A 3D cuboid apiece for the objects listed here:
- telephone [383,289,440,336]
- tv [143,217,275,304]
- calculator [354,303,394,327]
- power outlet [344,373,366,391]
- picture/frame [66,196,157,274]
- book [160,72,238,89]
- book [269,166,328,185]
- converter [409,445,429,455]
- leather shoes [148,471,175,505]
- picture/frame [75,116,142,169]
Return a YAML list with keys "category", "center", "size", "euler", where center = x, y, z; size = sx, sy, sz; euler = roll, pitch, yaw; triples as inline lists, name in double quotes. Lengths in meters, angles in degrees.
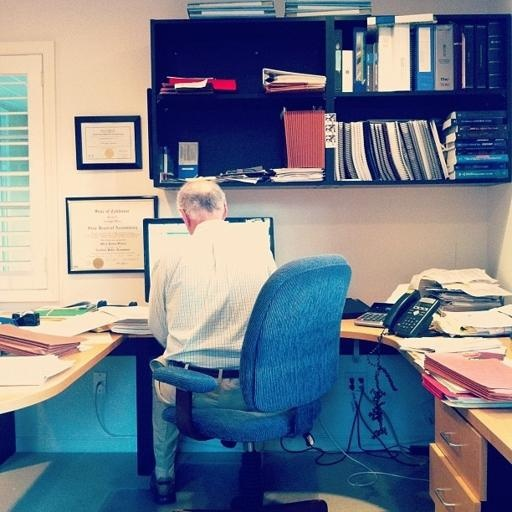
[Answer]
- category: "telephone"
  center: [0.645, 0.231, 2.592]
  size: [0.231, 0.099, 0.181]
  euler: [-29, 20, -25]
- category: "tv"
  center: [-0.184, 0.019, 2.401]
  size: [0.404, 0.287, 0.033]
  euler: [-1, -1, 0]
- category: "calculator"
  center: [0.517, 0.257, 2.729]
  size: [0.096, 0.046, 0.137]
  euler: [1, 14, 32]
- category: "power outlet"
  center: [0.497, 0.636, 3.176]
  size: [0.093, 0.088, 0.021]
  euler: [1, 3, -2]
- category: "picture/frame"
  center: [-0.728, -0.116, 3.172]
  size: [0.389, 0.327, 0.030]
  euler: [1, 0, -2]
- category: "book"
  center: [-0.255, -0.795, 2.893]
  size: [0.314, 0.063, 0.120]
  euler: [-3, 13, -5]
- category: "book"
  center: [0.190, -0.376, 2.921]
  size: [0.253, 0.068, 0.035]
  euler: [-1, 13, 2]
- category: "converter"
  center: [0.801, 0.964, 3.098]
  size: [0.078, 0.053, 0.042]
  euler: [0, -7, -1]
- category: "leather shoes"
  center: [-0.410, 1.032, 2.793]
  size: [0.115, 0.112, 0.092]
  euler: [0, -1, -1]
- category: "picture/frame"
  center: [-0.746, -0.588, 3.183]
  size: [0.265, 0.222, 0.020]
  euler: [0, 3, 0]
